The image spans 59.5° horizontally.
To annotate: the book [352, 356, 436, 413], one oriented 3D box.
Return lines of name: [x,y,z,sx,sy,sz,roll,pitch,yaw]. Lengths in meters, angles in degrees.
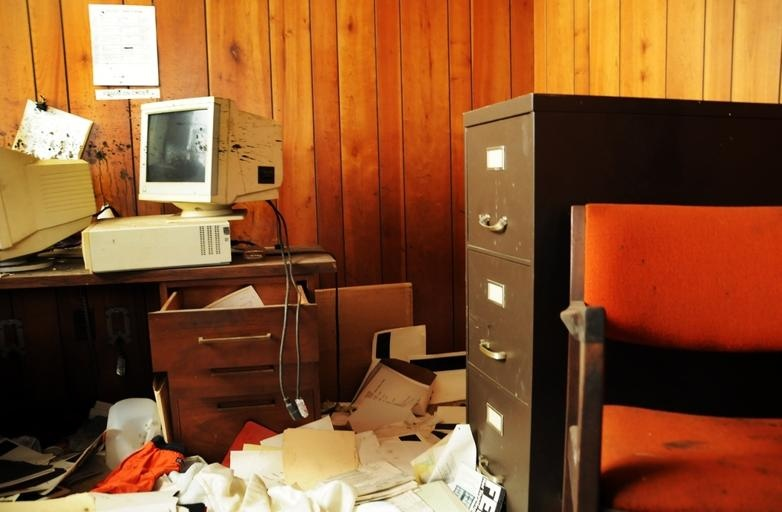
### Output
book: [0.010,0.602,3.139,0.368,0.208,0.190,0,10,12]

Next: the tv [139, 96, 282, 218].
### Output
tv: [-0.818,-0.438,3.130,0.521,0.474,0.471,3,7,32]
